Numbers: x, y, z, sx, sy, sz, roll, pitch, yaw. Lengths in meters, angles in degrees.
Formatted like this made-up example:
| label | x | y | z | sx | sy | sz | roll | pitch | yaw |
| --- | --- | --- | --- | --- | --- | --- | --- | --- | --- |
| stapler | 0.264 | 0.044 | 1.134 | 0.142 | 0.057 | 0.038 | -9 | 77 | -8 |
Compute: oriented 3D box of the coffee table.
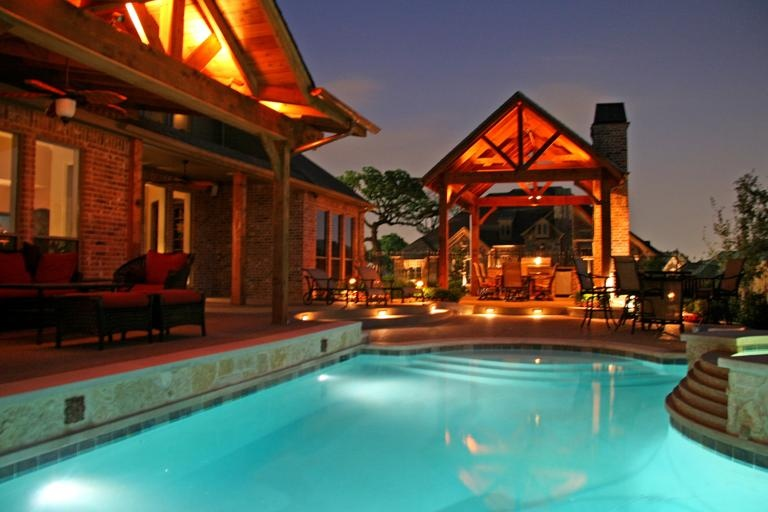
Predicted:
| label | x | y | z | sx | sy | sz | roll | pitch | yaw |
| --- | --- | --- | --- | --- | --- | --- | --- | --- | --- |
| coffee table | -3.500 | 0.855 | 8.232 | 0.546 | 0.839 | 1.824 | 9 | 13 | 44 |

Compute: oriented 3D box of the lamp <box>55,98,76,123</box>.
| label | x | y | z | sx | sy | sz | roll | pitch | yaw |
| --- | --- | --- | --- | --- | --- | --- | --- | --- | --- |
| lamp | -4.749 | -2.170 | 8.761 | 0.306 | 0.331 | 0.617 | -6 | 10 | -29 |
